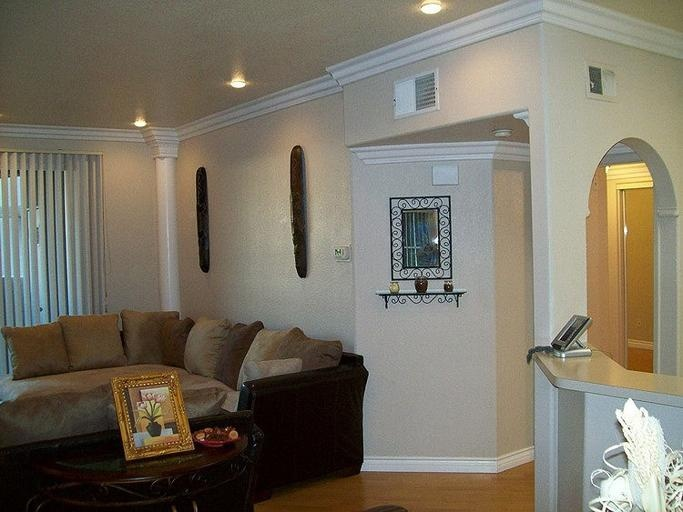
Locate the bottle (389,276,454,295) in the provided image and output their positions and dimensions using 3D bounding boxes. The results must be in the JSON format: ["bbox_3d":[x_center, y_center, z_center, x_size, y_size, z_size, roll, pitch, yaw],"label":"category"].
[{"bbox_3d":[0.629,0.232,4.199,0.506,0.130,0.154,-2,3,9],"label":"bottle"}]

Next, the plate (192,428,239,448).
[{"bbox_3d":[-0.655,0.935,2.732,0.203,0.066,0.184,-5,4,-44],"label":"plate"}]

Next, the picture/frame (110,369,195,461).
[{"bbox_3d":[-0.947,0.812,2.618,0.365,0.431,0.054,-5,-27,-36],"label":"picture/frame"}]
